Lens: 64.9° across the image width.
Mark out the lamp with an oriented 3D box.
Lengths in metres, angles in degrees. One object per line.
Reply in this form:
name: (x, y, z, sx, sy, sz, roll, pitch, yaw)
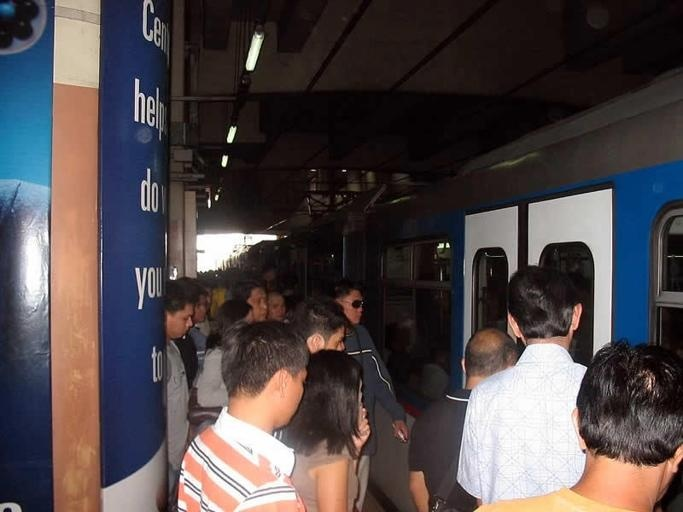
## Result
lamp: (-2.246, -3.563, 12.018, 0.339, 0.473, 4.574, -16, -22, -27)
